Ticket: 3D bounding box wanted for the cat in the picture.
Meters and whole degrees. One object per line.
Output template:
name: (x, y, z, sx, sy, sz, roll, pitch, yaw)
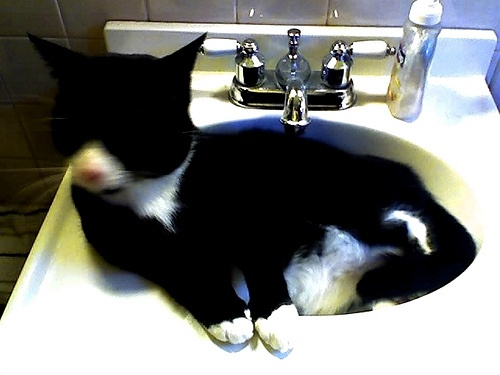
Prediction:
cat: (0.012, 0.007, 0.876, 0.708, 0.413, 0.439, 5, 82, -29)
